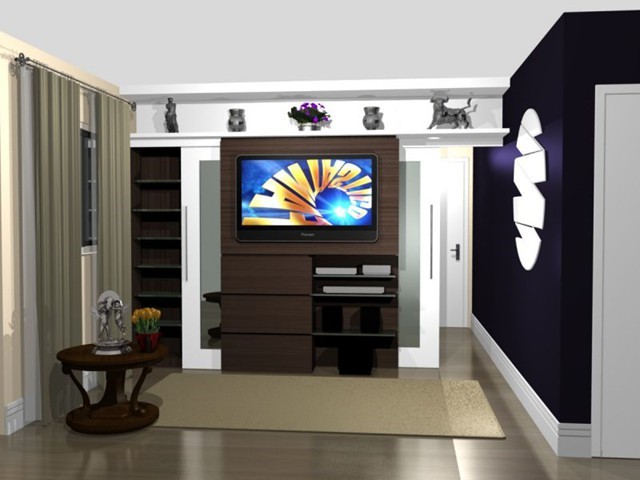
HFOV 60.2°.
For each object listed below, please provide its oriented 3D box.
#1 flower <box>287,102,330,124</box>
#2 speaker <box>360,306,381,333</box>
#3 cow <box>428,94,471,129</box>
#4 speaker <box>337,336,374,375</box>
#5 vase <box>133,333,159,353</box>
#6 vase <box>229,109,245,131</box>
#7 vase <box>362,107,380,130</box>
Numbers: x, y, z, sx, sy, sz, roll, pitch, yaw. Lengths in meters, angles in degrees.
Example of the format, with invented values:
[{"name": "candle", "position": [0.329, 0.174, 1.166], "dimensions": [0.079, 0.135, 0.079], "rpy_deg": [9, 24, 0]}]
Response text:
[{"name": "flower", "position": [-0.102, -1.315, 5.710], "dimensions": [0.382, 0.217, 0.353], "rpy_deg": [2, 9, 13]}, {"name": "speaker", "position": [0.516, 0.776, 5.488], "dimensions": [0.214, 0.328, 0.232], "rpy_deg": [1, -1, 8]}, {"name": "cow", "position": [1.318, -1.282, 5.553], "dimensions": [0.436, 0.322, 0.302], "rpy_deg": [1, 9, 8]}, {"name": "speaker", "position": [0.345, 1.105, 5.588], "dimensions": [0.423, 0.449, 0.332], "rpy_deg": [0, -2, 5]}, {"name": "vase", "position": [-1.363, 0.797, 4.385], "dimensions": [0.163, 0.124, 0.168], "rpy_deg": [1, -1, 17]}, {"name": "vase", "position": [-0.872, -1.246, 5.735], "dimensions": [0.194, 0.246, 0.334], "rpy_deg": [-1, 9, -7]}, {"name": "vase", "position": [0.542, -1.215, 5.606], "dimensions": [0.209, 0.281, 0.216], "rpy_deg": [1, 1, 11]}]
